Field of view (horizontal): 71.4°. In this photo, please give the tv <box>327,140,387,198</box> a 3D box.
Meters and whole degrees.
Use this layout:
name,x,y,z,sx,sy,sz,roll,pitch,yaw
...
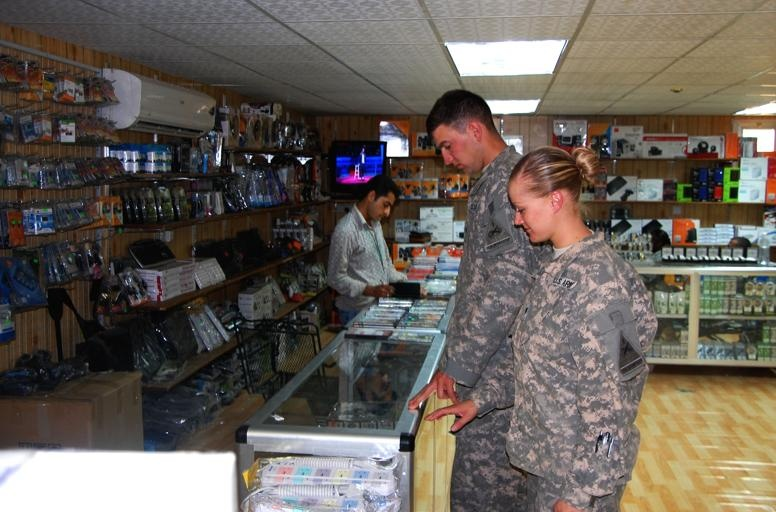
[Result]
name,x,y,z,sx,sy,sz,roll,pitch,yaw
tv,-0.367,-1.382,8.592,0.951,0.860,0.492,3,5,18

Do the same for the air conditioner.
name,x,y,z,sx,sy,sz,roll,pitch,yaw
air conditioner,-1.892,-1.252,4.474,0.340,0.448,0.992,2,9,18
